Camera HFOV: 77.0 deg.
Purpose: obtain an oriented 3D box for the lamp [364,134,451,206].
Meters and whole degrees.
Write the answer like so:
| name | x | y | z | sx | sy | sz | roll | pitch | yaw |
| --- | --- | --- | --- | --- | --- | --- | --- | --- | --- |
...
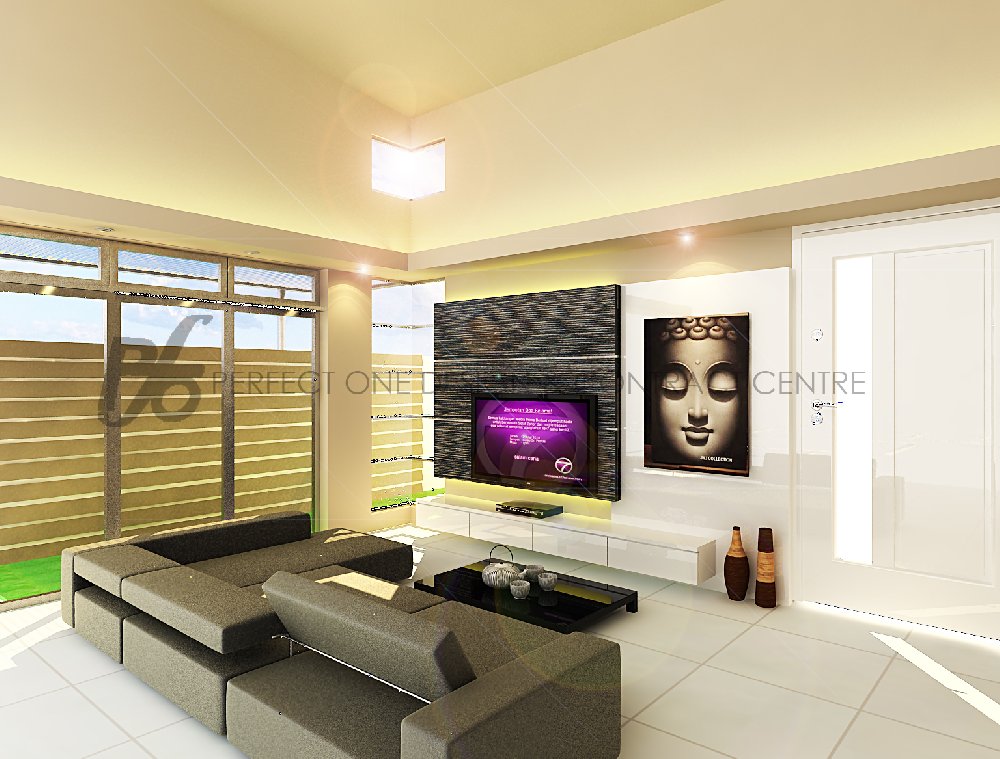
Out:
| name | x | y | z | sx | sy | sz | roll | pitch | yaw |
| --- | --- | --- | --- | --- | --- | --- | --- | --- | --- |
| lamp | -1.010 | -2.207 | 6.627 | 0.632 | 0.410 | 0.670 | -2 | 6 | -26 |

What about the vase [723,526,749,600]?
| name | x | y | z | sx | sy | sz | roll | pitch | yaw |
| --- | --- | --- | --- | --- | --- | --- | --- | --- | --- |
| vase | 1.902 | 1.449 | 4.928 | 0.263 | 0.583 | 0.122 | -3 | 7 | -28 |

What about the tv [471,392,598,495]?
| name | x | y | z | sx | sy | sz | roll | pitch | yaw |
| --- | --- | --- | --- | --- | --- | --- | --- | --- | --- |
| tv | 0.367 | 0.613 | 6.070 | 1.092 | 0.736 | 0.148 | 1 | 2 | 38 |

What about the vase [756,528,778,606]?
| name | x | y | z | sx | sy | sz | roll | pitch | yaw |
| --- | --- | --- | --- | --- | --- | --- | --- | --- | --- |
| vase | 2.077 | 1.444 | 4.830 | 0.191 | 0.608 | 0.138 | 0 | 6 | -1 |

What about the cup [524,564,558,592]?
| name | x | y | z | sx | sy | sz | roll | pitch | yaw |
| --- | --- | --- | --- | --- | --- | --- | --- | --- | --- |
| cup | 0.295 | 1.460 | 4.589 | 0.216 | 0.081 | 0.146 | 2 | -3 | -2 |

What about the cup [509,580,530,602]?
| name | x | y | z | sx | sy | sz | roll | pitch | yaw |
| --- | --- | --- | --- | --- | --- | --- | --- | --- | --- |
| cup | 0.133 | 1.481 | 4.387 | 0.145 | 0.099 | 0.126 | -1 | -4 | 8 |
